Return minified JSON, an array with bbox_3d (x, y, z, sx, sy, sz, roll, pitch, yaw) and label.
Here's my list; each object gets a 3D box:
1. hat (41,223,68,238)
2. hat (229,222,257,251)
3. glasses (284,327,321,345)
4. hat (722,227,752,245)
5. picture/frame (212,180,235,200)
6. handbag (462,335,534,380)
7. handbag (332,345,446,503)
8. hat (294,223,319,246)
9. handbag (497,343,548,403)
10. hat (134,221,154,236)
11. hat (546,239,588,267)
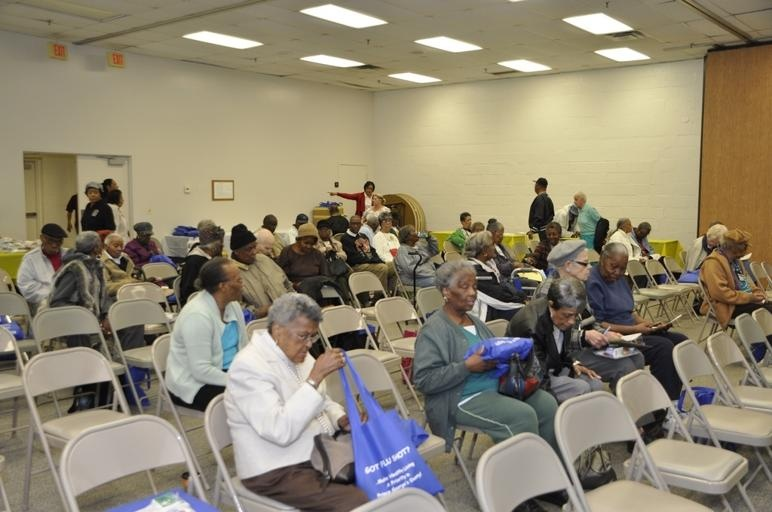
[{"bbox_3d":[-3.904,-0.298,6.260,0.266,0.128,0.187,1,-3,9],"label":"hat"},{"bbox_3d":[-1.525,-0.183,5.566,0.261,0.210,0.256,-21,5,46],"label":"hat"},{"bbox_3d":[-0.522,0.463,3.133,0.148,0.044,0.147,10,2,36],"label":"glasses"},{"bbox_3d":[4.300,-0.296,6.622,0.289,0.146,0.368,3,5,11],"label":"hat"},{"bbox_3d":[-4.006,-1.615,12.993,0.037,0.414,0.528,1,4,37],"label":"picture/frame"},{"bbox_3d":[0.806,0.643,3.682,0.424,0.142,0.434,-4,2,-17],"label":"handbag"},{"bbox_3d":[-0.048,1.028,3.009,0.528,0.872,0.302,-23,-28,-12],"label":"handbag"},{"bbox_3d":[-0.975,-0.270,6.614,0.240,0.273,0.274,10,10,-8],"label":"hat"},{"bbox_3d":[0.959,0.736,3.688,0.209,0.383,0.387,17,32,38],"label":"handbag"},{"bbox_3d":[-3.886,-0.422,8.443,0.317,0.121,0.262,-3,-1,44],"label":"hat"},{"bbox_3d":[1.684,-0.030,4.979,0.309,0.122,0.259,-20,13,21],"label":"hat"}]
